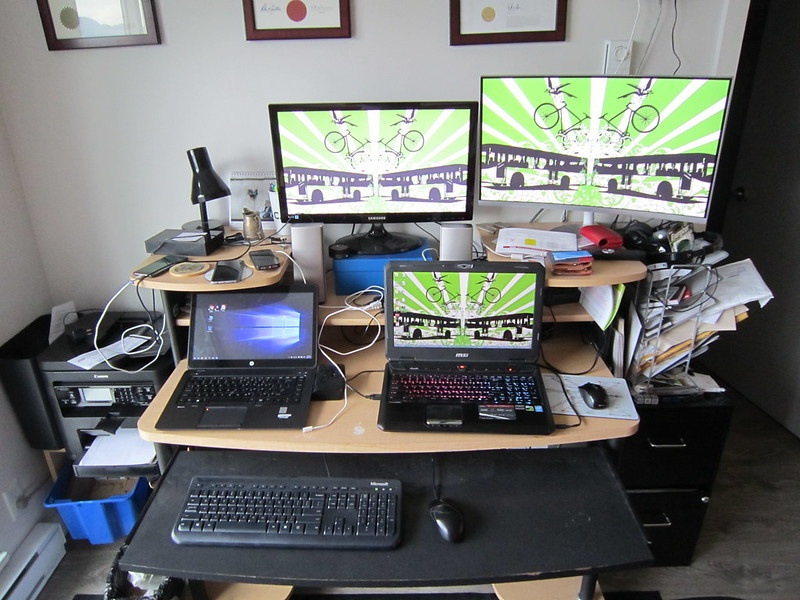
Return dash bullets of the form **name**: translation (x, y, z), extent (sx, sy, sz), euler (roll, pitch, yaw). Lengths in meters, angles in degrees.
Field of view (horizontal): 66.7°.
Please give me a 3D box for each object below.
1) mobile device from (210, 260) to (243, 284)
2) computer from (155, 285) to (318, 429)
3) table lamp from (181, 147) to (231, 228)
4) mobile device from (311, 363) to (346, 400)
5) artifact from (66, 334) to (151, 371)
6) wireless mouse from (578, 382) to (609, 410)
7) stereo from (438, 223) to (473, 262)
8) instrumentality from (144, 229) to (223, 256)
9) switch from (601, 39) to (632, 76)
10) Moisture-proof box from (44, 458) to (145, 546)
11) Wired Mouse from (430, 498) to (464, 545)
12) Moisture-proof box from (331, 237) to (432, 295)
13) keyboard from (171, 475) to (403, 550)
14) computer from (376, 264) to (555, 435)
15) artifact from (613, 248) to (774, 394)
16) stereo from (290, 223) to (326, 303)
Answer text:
- **mobile device**: translation (-0.604, -0.099, 2.127), extent (0.151, 0.017, 0.178), euler (-1, 32, -7)
- **computer**: translation (-0.520, 0.258, 2.110), extent (0.585, 0.300, 0.440), euler (-1, 45, 4)
- **table lamp**: translation (-0.731, -0.424, 2.317), extent (0.148, 0.321, 0.220), euler (-12, 28, -16)
- **mobile device**: translation (-0.248, 0.275, 2.106), extent (0.109, 0.034, 0.139), euler (2, 36, -3)
- **artifact**: translation (-1.138, 0.200, 2.398), extent (0.126, 0.027, 0.198), euler (18, 46, 35)
- **wireless mouse**: translation (0.654, 0.321, 2.035), extent (0.065, 0.033, 0.097), euler (-2, 34, -7)
- **stereo**: translation (0.216, -0.206, 2.273), extent (0.115, 0.095, 0.158), euler (2, 71, 2)
- **instrumentality**: translation (-0.806, -0.217, 2.319), extent (0.190, 0.034, 0.154), euler (1, 22, 1)
- **switch**: translation (0.880, -0.990, 2.450), extent (0.120, 0.124, 0.040), euler (-1, 28, 4)
- **Moisture-proof box**: translation (-1.268, 0.837, 2.630), extent (0.355, 0.181, 0.418), euler (-5, 19, -12)
- **Wired Mouse**: translation (0.153, 0.673, 1.901), extent (0.101, 0.050, 0.155), euler (-14, 33, 0)
- **Moisture-proof box**: translation (-0.045, -0.218, 2.467), extent (0.392, 0.125, 0.246), euler (-11, 58, -7)
- **keyboard**: translation (-0.333, 0.654, 1.931), extent (0.707, 0.043, 0.234), euler (2, 42, -1)
- **computer**: translation (0.207, 0.208, 2.176), extent (0.780, 0.454, 0.533), euler (1, 38, 3)
- **artifact**: translation (1.017, 0.089, 2.221), extent (0.624, 0.183, 0.414), euler (-24, 39, 32)
- **stereo**: translation (-0.324, -0.177, 2.283), extent (0.098, 0.197, 0.076), euler (-2, 3, -7)
